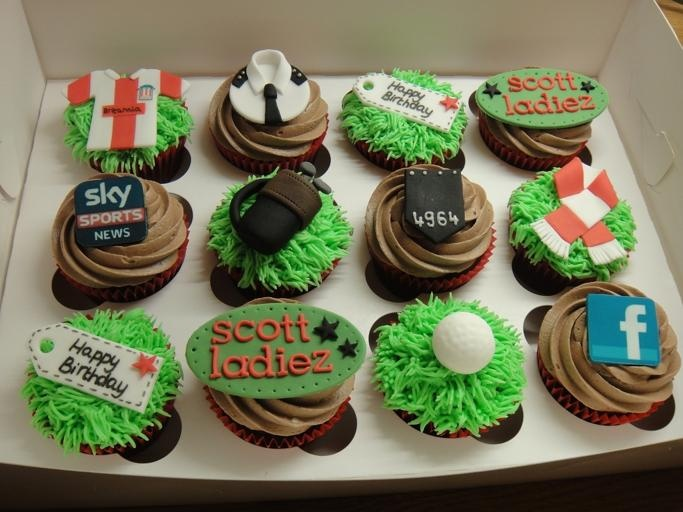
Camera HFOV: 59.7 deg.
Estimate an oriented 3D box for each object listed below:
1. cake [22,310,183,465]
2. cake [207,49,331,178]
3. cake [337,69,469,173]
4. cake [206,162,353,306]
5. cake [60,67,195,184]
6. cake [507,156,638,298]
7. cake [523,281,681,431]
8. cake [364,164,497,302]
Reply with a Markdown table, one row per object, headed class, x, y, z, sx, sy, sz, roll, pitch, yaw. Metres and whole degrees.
| class | x | y | z | sx | sy | sz | roll | pitch | yaw |
| --- | --- | --- | --- | --- | --- | --- | --- | --- | --- |
| cake | -1.088 | 0.548 | 2.613 | 0.683 | 0.252 | 0.739 | 20 | 40 | -21 |
| cake | -0.420 | -0.785 | 3.267 | 0.638 | 0.494 | 0.644 | -31 | 61 | -33 |
| cake | 0.347 | -0.752 | 3.342 | 0.718 | 0.315 | 0.596 | 13 | 54 | -2 |
| cake | -0.292 | -0.088 | 2.897 | 0.715 | 0.524 | 0.515 | -3 | 55 | -12 |
| cake | -1.145 | -0.701 | 3.205 | 0.657 | 0.332 | 0.586 | -2 | 56 | -12 |
| cake | 1.173 | -0.143 | 3.071 | 0.613 | 0.404 | 0.580 | 3 | 55 | -8 |
| cake | 1.199 | 0.441 | 2.834 | 0.560 | 0.434 | 0.695 | -4 | 71 | 5 |
| cake | 0.415 | -0.070 | 3.108 | 0.552 | 0.467 | 0.676 | 0 | 77 | -5 |
